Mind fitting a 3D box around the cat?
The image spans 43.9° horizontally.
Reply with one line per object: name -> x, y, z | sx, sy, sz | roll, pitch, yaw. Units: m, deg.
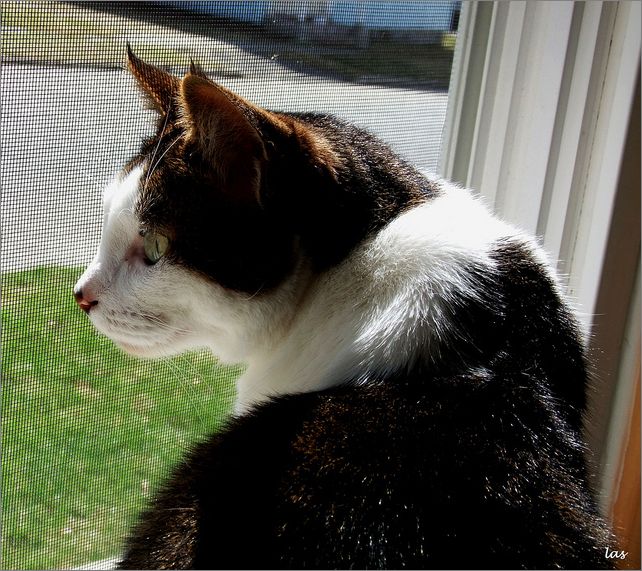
cat -> 0.059, 0.092, 1.259 | 0.942, 0.606, 0.568 | 1, -11, -12
